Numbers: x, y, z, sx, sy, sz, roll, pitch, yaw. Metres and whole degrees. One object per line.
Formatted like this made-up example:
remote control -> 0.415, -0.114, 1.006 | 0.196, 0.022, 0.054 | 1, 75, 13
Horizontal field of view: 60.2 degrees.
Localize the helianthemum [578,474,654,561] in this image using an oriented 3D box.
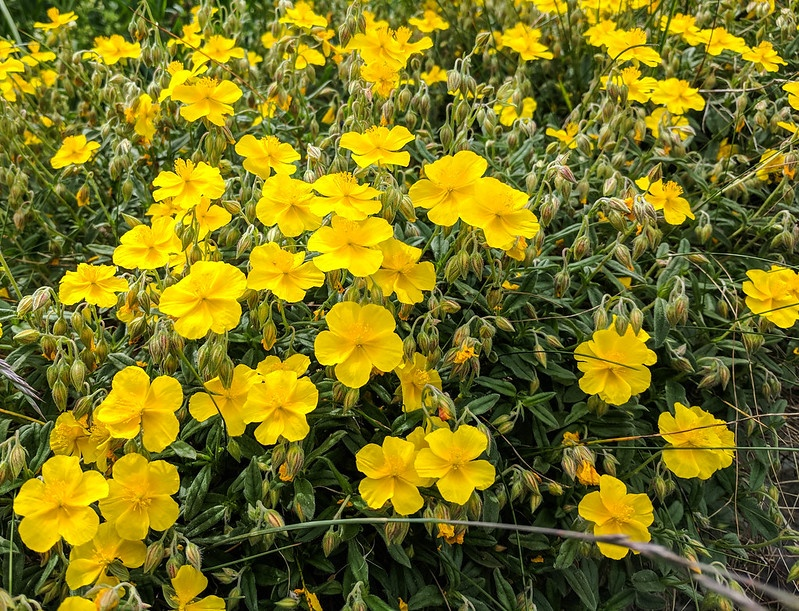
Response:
helianthemum -> 0.797, 0.762, 2.569 | 0.272, 0.228, 0.154 | 7, 34, -3
